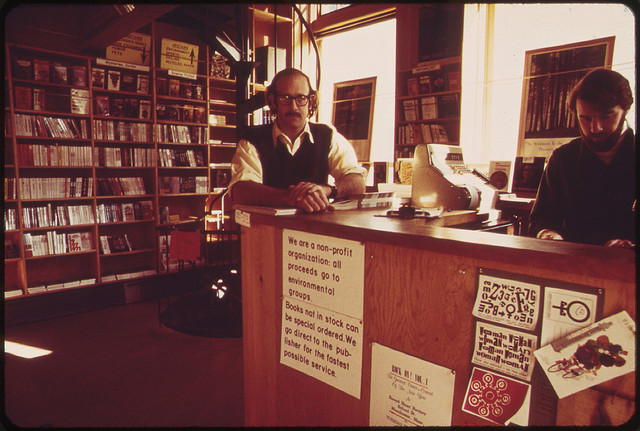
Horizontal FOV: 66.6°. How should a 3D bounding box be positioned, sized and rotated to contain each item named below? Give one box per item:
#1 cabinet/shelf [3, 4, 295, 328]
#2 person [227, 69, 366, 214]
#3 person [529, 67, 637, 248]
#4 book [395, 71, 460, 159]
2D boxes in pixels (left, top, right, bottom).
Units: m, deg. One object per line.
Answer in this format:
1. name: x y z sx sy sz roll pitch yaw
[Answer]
1. cabinet/shelf: -2.064 -0.651 5.196 2.477 3.231 1.286 -6 8 -32
2. person: -0.143 -0.299 3.390 1.030 1.322 0.723 -1 15 -14
3. person: 1.463 -0.310 2.713 0.517 0.953 0.247 1 7 24
4. book: 1.209 -1.169 5.472 0.218 0.997 0.794 -8 9 -42
